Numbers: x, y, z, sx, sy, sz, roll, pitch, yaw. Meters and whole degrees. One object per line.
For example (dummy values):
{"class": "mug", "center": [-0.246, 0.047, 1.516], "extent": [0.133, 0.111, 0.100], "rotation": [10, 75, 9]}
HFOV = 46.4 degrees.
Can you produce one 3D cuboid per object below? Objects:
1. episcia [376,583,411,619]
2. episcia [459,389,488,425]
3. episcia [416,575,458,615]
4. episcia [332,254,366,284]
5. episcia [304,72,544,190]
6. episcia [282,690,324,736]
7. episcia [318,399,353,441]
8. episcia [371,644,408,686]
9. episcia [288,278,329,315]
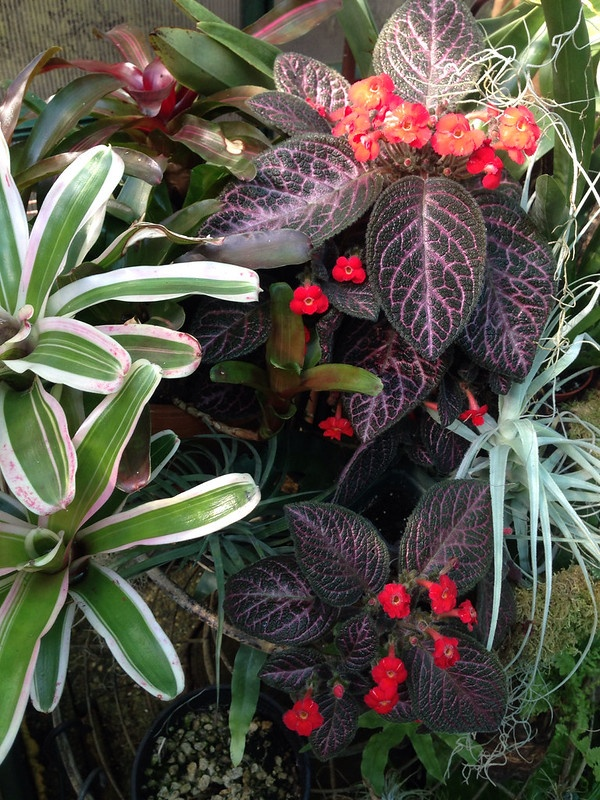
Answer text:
{"class": "episcia", "center": [0.111, 0.236, 0.827], "extent": [0.033, 0.044, 0.053], "rotation": [2, 42, 5]}
{"class": "episcia", "center": [0.236, 0.008, 0.961], "extent": [0.029, 0.030, 0.059], "rotation": [17, 19, -18]}
{"class": "episcia", "center": [0.165, 0.228, 0.815], "extent": [0.053, 0.029, 0.036], "rotation": [29, 94, 14]}
{"class": "episcia", "center": [0.064, -0.165, 0.895], "extent": [0.043, 0.044, 0.041], "rotation": [3, 42, 5]}
{"class": "episcia", "center": [0.156, -0.311, 0.857], "extent": [0.262, 0.089, 0.150], "rotation": [-6, 72, -13]}
{"class": "episcia", "center": [0.003, 0.384, 0.866], "extent": [0.050, 0.050, 0.022], "rotation": [26, 8, 9]}
{"class": "episcia", "center": [0.049, 0.029, 0.990], "extent": [0.046, 0.017, 0.057], "rotation": [-4, 67, 17]}
{"class": "episcia", "center": [0.104, 0.319, 0.820], "extent": [0.037, 0.028, 0.029], "rotation": [-30, 49, -29]}
{"class": "episcia", "center": [0.017, -0.134, 0.867], "extent": [0.043, 0.042, 0.074], "rotation": [7, 41, 9]}
